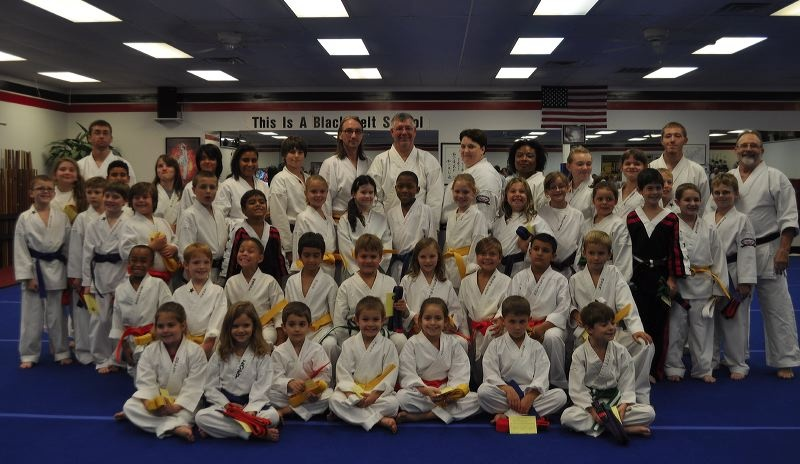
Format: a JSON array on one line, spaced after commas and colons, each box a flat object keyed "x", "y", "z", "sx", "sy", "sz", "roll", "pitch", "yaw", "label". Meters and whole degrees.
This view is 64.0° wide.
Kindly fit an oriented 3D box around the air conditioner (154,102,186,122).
[{"x": -5.851, "y": -3.051, "z": 16.419, "sx": 0.613, "sy": 0.449, "sz": 0.551, "roll": 2, "pitch": 1, "yaw": 5, "label": "air conditioner"}]
